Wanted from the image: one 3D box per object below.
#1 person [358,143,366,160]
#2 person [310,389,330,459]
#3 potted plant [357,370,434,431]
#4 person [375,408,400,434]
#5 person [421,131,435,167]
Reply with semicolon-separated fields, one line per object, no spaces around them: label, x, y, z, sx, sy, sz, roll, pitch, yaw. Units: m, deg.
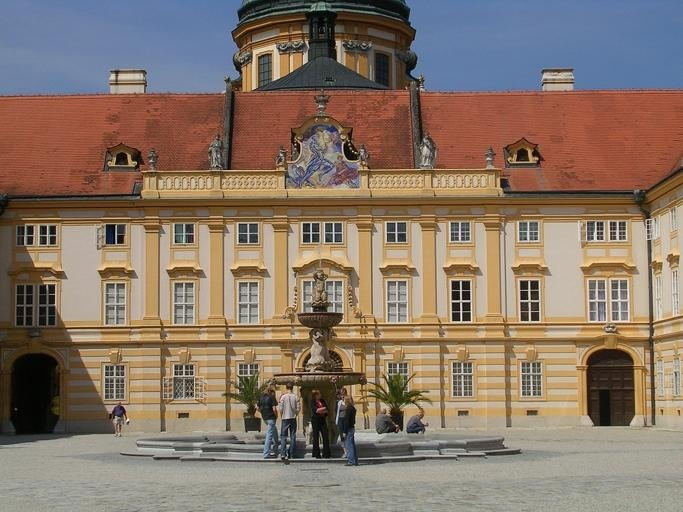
person;1.115;-4.985;76.333;0.368;0.886;0.735;0;-10;1
person;-0.701;6.016;53.641;0.685;2.371;1.503;0;-10;-1
potted plant;2.462;6.665;67.733;2.761;2.036;2.661;-5;-17;22
person;1.611;6.635;59.987;1.106;0.912;1.443;-1;0;27
person;4.350;-5.098;76.380;0.753;1.964;0.639;-1;-10;2
